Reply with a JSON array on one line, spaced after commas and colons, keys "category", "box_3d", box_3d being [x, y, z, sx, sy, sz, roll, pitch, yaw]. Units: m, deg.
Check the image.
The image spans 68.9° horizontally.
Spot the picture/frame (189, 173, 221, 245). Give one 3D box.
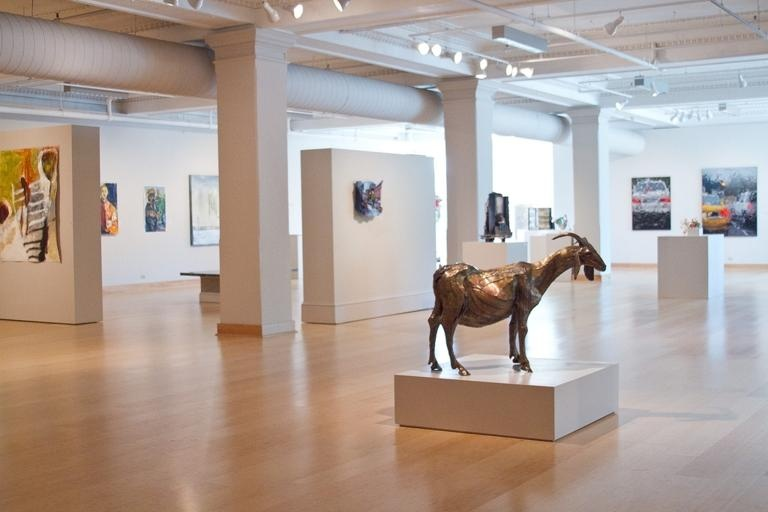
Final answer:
[{"category": "picture/frame", "box_3d": [-6.966, -1.819, 22.081, 2.179, 2.940, 0.109, 2, 4, 40]}]

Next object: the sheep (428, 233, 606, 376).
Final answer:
[{"category": "sheep", "box_3d": [1.243, 0.425, 5.244, 1.632, 1.299, 0.602, -2, 1, 0]}]

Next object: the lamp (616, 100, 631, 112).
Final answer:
[{"category": "lamp", "box_3d": [7.741, -4.872, 18.143, 0.489, 0.246, 0.737, 0, 24, 23]}]
